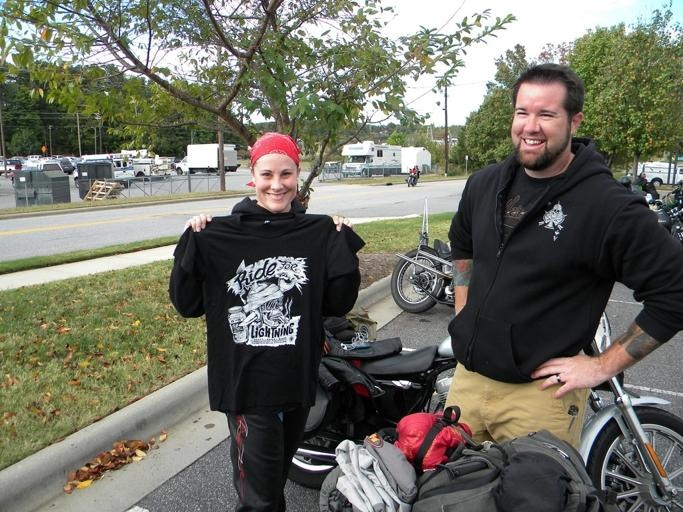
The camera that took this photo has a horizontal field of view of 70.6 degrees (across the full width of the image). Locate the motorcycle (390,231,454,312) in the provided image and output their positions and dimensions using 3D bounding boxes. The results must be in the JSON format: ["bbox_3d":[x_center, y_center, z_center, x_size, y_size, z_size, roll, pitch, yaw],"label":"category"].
[{"bbox_3d":[1.230,0.337,7.332,1.245,0.827,0.718,13,-1,34],"label":"motorcycle"}]

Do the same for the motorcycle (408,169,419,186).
[{"bbox_3d":[5.752,-6.374,39.007,0.713,1.479,1.633,4,14,5],"label":"motorcycle"}]
